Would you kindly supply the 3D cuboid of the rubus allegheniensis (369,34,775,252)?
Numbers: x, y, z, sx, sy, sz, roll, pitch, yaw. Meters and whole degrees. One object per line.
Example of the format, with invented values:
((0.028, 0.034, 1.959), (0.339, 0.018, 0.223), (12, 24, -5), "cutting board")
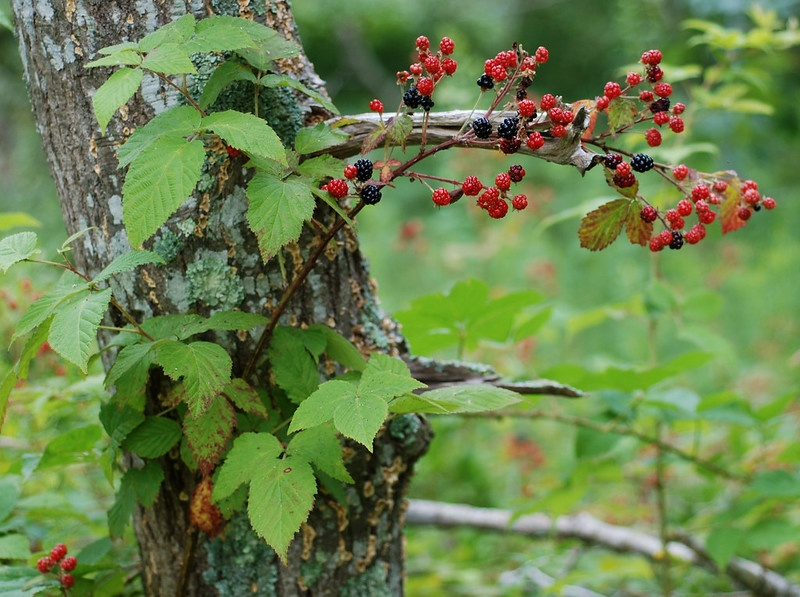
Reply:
((0.625, -0.526, 3.999), (1.187, 0.859, 0.439), (19, 16, 4), "rubus allegheniensis")

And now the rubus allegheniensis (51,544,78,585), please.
((-1.286, 1.017, 4.215), (0.058, 0.160, 0.101), (-3, 19, 33), "rubus allegheniensis")
